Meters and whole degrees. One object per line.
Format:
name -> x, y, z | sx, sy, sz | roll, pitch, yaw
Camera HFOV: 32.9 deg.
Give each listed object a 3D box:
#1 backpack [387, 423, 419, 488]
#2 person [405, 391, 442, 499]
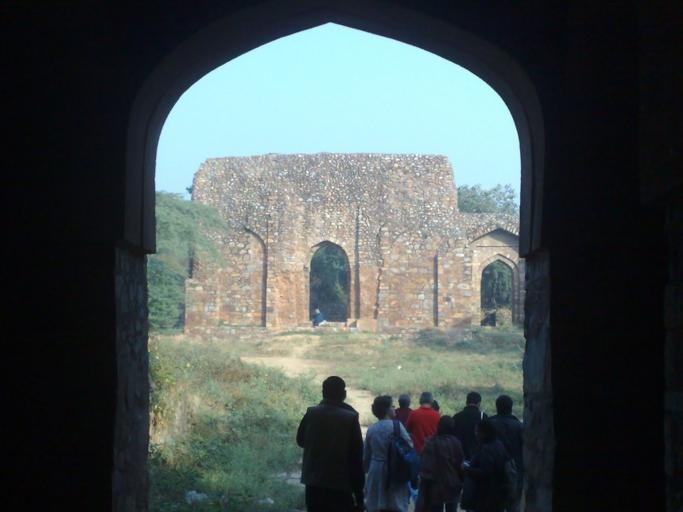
backpack -> 0.401, 1.345, 7.725 | 0.235, 0.544, 0.328 | -1, -6, 15
person -> 0.630, 1.389, 8.743 | 0.238, 0.831, 0.232 | -5, 19, -8
